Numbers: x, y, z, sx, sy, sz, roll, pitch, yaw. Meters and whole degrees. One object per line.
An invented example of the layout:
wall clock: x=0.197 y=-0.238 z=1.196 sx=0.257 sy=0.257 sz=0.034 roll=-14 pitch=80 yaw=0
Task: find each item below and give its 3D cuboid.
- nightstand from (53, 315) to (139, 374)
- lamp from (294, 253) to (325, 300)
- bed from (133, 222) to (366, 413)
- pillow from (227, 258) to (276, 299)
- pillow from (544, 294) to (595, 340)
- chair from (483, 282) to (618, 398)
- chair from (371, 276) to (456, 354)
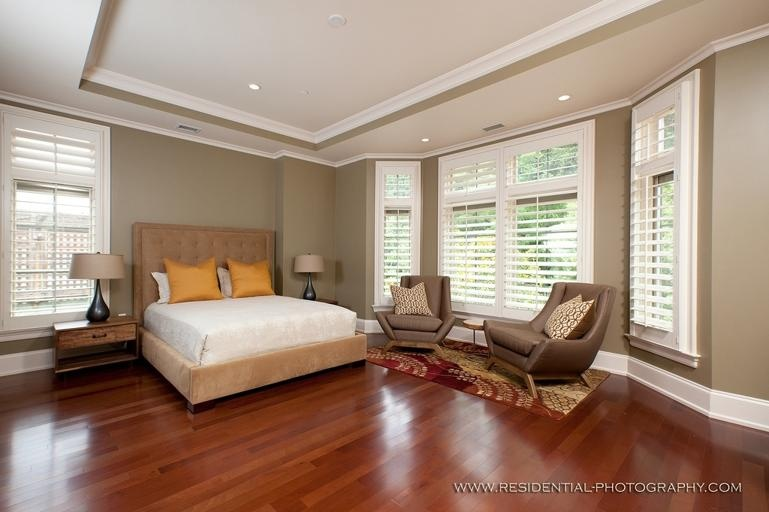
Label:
nightstand: x=-3.490 y=1.062 z=5.266 sx=0.515 sy=0.519 sz=0.825 roll=2 pitch=3 yaw=43
lamp: x=-1.198 y=0.347 z=6.984 sx=0.519 sy=0.700 sz=0.485 roll=0 pitch=-8 yaw=-12
bed: x=-1.808 y=0.474 z=5.588 sx=2.360 sy=1.573 sz=2.203 roll=8 pitch=9 yaw=43
pillow: x=-1.942 y=0.305 z=6.349 sx=0.313 sy=0.513 sz=0.665 roll=9 pitch=7 yaw=44
pillow: x=2.162 y=0.742 z=5.040 sx=0.526 sy=0.512 sz=0.862 roll=-9 pitch=0 yaw=9
chair: x=1.969 y=0.868 z=5.122 sx=1.270 sy=1.034 sz=1.196 roll=1 pitch=2 yaw=-12
chair: x=0.450 y=0.742 z=6.132 sx=1.062 sy=0.856 sz=1.006 roll=0 pitch=3 yaw=-4
